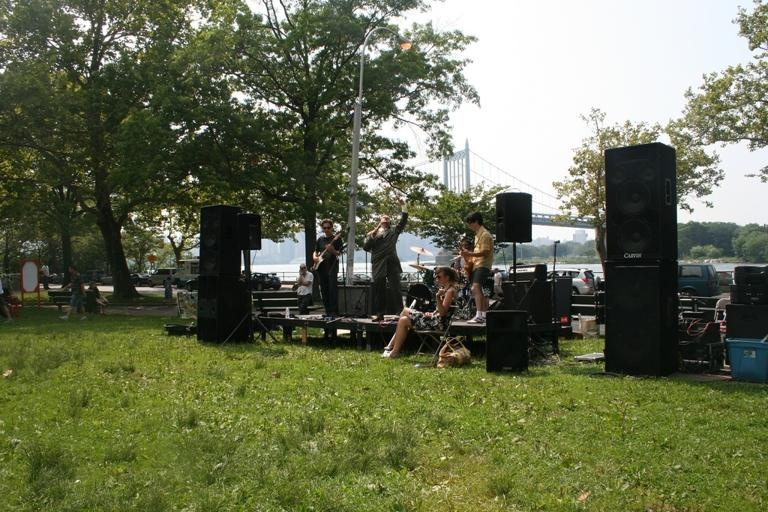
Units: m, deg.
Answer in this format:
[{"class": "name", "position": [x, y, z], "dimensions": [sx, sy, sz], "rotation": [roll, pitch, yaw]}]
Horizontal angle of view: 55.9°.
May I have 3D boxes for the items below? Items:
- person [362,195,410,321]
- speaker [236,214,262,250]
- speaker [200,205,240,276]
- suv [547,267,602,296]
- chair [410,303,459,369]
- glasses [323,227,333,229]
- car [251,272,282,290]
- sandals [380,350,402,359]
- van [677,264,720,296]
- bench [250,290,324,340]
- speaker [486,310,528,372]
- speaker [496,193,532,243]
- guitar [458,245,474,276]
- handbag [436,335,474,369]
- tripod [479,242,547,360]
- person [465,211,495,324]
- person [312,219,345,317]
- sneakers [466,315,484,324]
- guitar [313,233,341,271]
[{"class": "person", "position": [0.024, 0.090, 16.349], "dimensions": [0.845, 2.938, 0.880], "rotation": [0, 0, 1]}, {"class": "speaker", "position": [-3.194, -0.464, 17.267], "dimensions": [0.607, 1.034, 0.585], "rotation": [-1, -23, -9]}, {"class": "speaker", "position": [-3.930, -0.361, 17.305], "dimensions": [0.845, 1.649, 0.668], "rotation": [-2, -3, 43]}, {"class": "suv", "position": [7.060, 0.954, 26.631], "dimensions": [2.365, 0.953, 1.125], "rotation": [1, 1, 41]}, {"class": "chair", "position": [0.967, 1.672, 15.352], "dimensions": [1.062, 1.421, 0.755], "rotation": [-2, 0, -27]}, {"class": "glasses", "position": [-1.329, -0.642, 17.010], "dimensions": [0.182, 0.077, 0.112], "rotation": [2, -2, -26]}, {"class": "car", "position": [-7.273, 1.538, 44.257], "dimensions": [1.998, 0.713, 0.922], "rotation": [6, 5, 44]}, {"class": "sandals", "position": [0.126, 2.106, 15.459], "dimensions": [0.373, 0.169, 0.138], "rotation": [-5, -2, 23]}, {"class": "van", "position": [12.947, 0.997, 29.896], "dimensions": [1.986, 1.116, 1.216], "rotation": [3, 1, 38]}, {"class": "bench", "position": [-3.091, 1.412, 20.344], "dimensions": [2.142, 1.487, 1.525], "rotation": [1, -2, -2]}, {"class": "speaker", "position": [2.412, 1.663, 14.229], "dimensions": [0.792, 1.197, 0.215], "rotation": [0, -1, 5]}, {"class": "speaker", "position": [2.764, -0.840, 15.521], "dimensions": [0.664, 1.054, 0.703], "rotation": [2, 2, 4]}, {"class": "guitar", "position": [1.947, 0.042, 16.731], "dimensions": [0.209, 0.817, 0.404], "rotation": [-8, -6, -16]}, {"class": "handbag", "position": [1.430, 1.970, 14.934], "dimensions": [0.715, 0.577, 0.666], "rotation": [1, -2, -2]}, {"class": "tripod", "position": [2.805, 1.218, 14.984], "dimensions": [1.242, 2.909, 1.204], "rotation": [1, -1, -6]}, {"class": "person", "position": [2.086, 0.313, 15.815], "dimensions": [0.802, 2.196, 0.699], "rotation": [0, 0, 1]}, {"class": "person", "position": [-1.314, 0.201, 17.181], "dimensions": [0.716, 2.455, 0.655], "rotation": [0, 0, -7]}, {"class": "sneakers", "position": [1.994, 1.385, 15.728], "dimensions": [0.406, 0.171, 0.142], "rotation": [-1, -4, 37]}, {"class": "guitar", "position": [-1.360, -0.091, 16.998], "dimensions": [0.621, 0.804, 0.433], "rotation": [0, -1, -3]}]
